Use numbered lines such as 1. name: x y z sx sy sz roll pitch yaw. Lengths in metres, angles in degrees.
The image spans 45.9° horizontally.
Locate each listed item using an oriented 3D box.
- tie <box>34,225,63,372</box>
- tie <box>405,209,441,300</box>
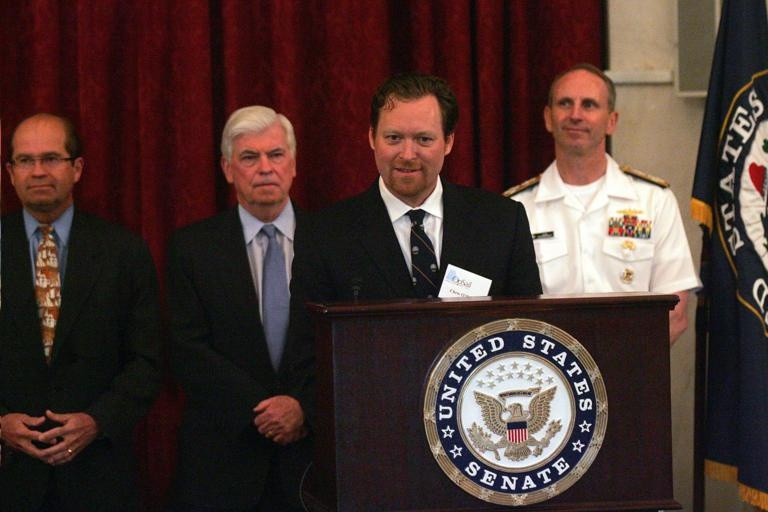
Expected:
1. tie: -1.630 0.183 4.385 0.102 0.743 0.035 -1 -11 -9
2. tie: 0.171 -0.015 3.866 0.138 0.354 0.173 2 8 -6
